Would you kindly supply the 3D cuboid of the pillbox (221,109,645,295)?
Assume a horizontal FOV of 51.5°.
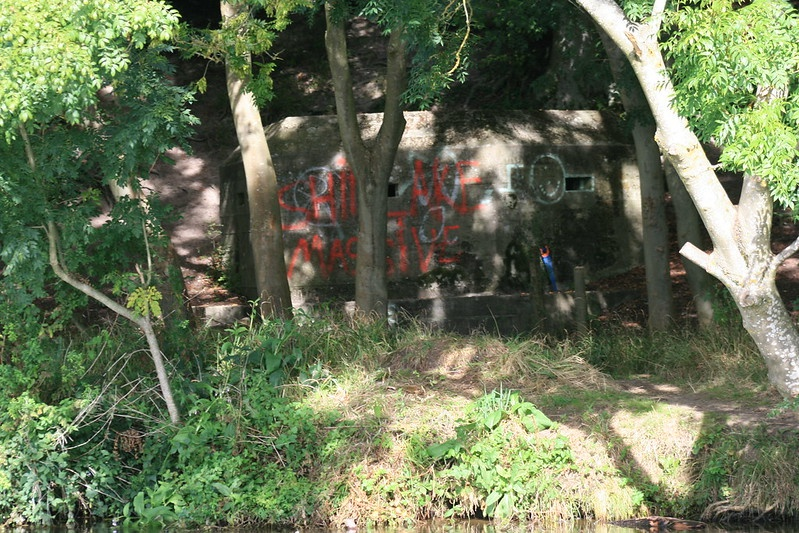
[{"bbox_3d":[0.935,-1.396,18.112,6.273,2.769,4.461,-1,1,-15],"label":"pillbox"}]
